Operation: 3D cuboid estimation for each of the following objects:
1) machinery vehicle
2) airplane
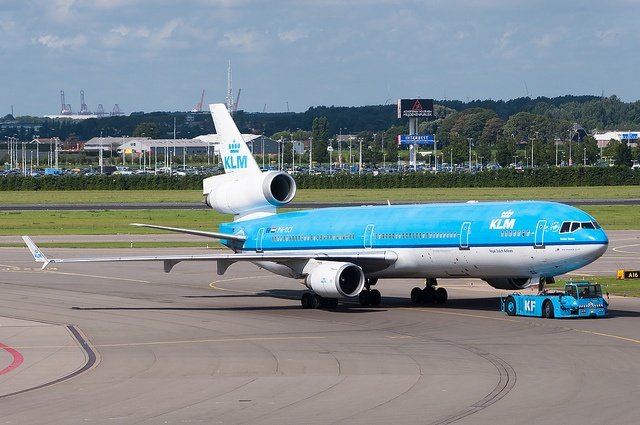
[{"bbox_3d":[13.948,5.481,63.336,2.775,1.203,4.652,1,-2,-41],"label":"machinery vehicle"},{"bbox_3d":[3.514,-0.625,68.576,27.514,13.965,8.634,-2,4,30],"label":"airplane"}]
